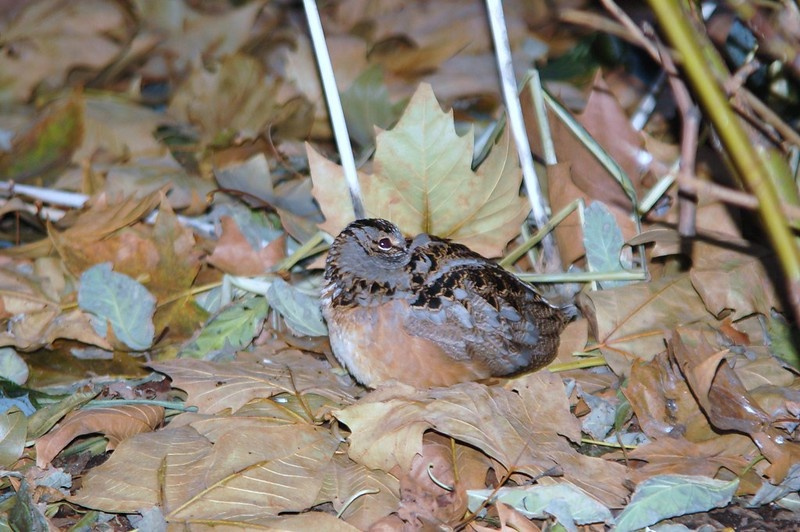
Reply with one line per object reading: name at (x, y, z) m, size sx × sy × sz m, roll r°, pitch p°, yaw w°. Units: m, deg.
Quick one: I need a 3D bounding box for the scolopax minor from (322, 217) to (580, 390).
scolopax minor at (0.198, 0.096, 2.945) m, size 0.740 × 0.551 × 0.541 m, roll -17°, pitch 91°, yaw 9°
